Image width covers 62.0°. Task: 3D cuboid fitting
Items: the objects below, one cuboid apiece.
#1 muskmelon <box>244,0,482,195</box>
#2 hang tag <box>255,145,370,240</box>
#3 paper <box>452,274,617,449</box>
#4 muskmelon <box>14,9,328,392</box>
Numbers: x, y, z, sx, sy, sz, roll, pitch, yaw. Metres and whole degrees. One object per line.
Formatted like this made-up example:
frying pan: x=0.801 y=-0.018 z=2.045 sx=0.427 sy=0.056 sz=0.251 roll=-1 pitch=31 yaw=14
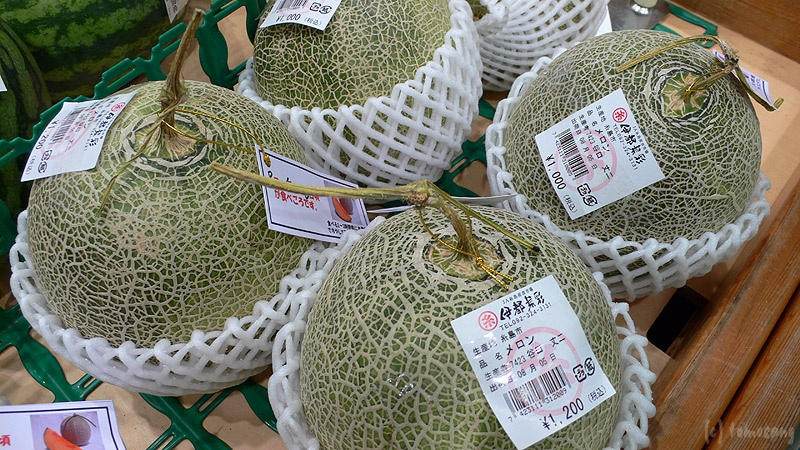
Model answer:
muskmelon: x=-0.044 y=-0.438 z=1.880 sx=0.551 sy=0.408 sz=0.599 roll=-8 pitch=53 yaw=-4
hang tag: x=-0.228 y=-0.077 z=1.692 sx=0.011 sy=0.247 sz=0.153 roll=-28 pitch=59 yaw=29
paper: x=0.297 y=0.302 z=1.487 sx=0.274 sy=0.044 sz=0.329 roll=-27 pitch=82 yaw=-9
muskmelon: x=-0.526 y=-0.152 z=1.935 sx=0.824 sy=1.118 sz=0.888 roll=6 pitch=22 yaw=0
